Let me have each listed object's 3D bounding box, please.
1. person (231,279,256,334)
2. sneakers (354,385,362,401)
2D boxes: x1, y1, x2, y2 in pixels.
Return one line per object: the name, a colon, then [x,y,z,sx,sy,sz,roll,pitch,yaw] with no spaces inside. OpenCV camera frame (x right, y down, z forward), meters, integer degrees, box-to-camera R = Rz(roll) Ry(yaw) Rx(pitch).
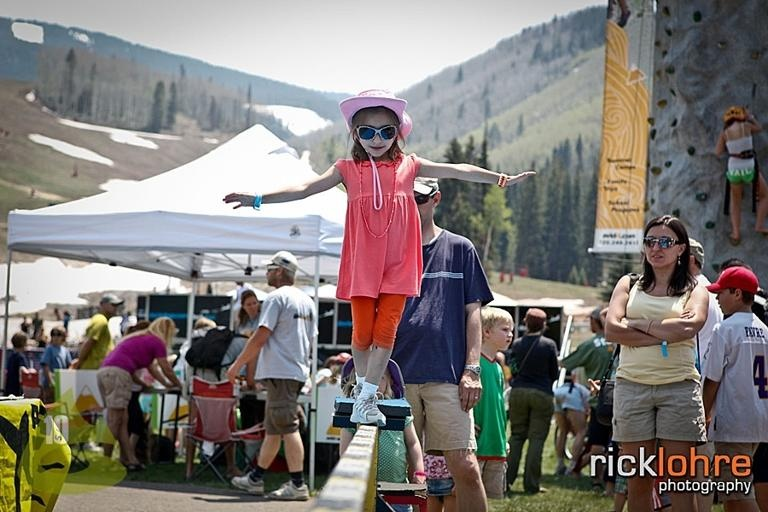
person: [-4.383,1.499,35.547,0.985,1.368,0.493,0,-13,0]
sneakers: [-0.648,3.428,29.731,0.194,0.325,0.117,3,1,41]
